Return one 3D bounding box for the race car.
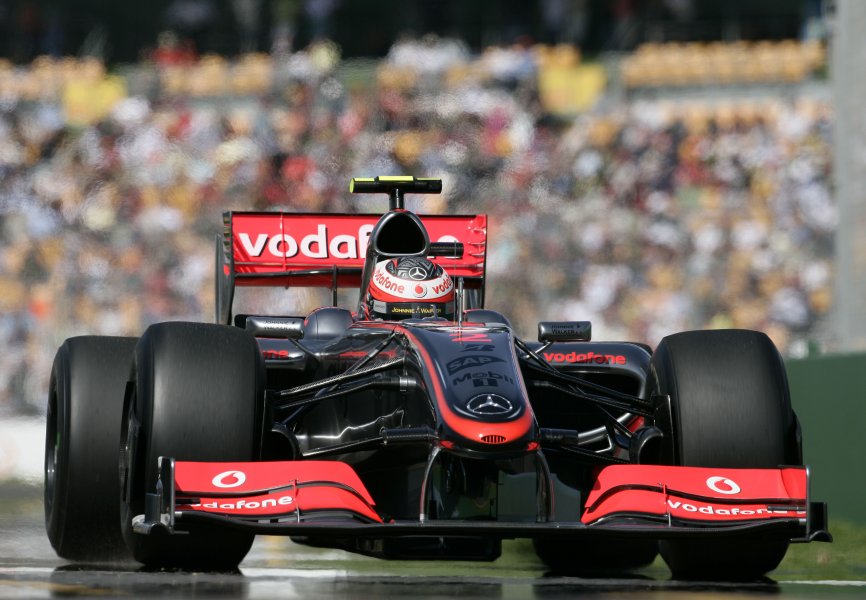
[{"bbox_3d":[-0.122,0.513,14.435,4.380,2.805,4.379,0,3,-2],"label":"race car"}]
